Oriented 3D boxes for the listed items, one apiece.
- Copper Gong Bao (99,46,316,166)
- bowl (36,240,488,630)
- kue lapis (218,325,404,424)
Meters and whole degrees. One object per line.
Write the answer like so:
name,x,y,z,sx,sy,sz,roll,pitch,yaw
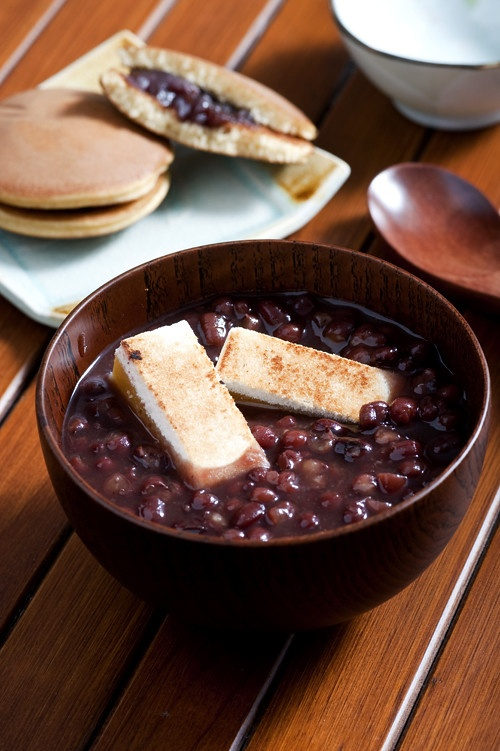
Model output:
Copper Gong Bao,-0.038,-0.458,1.165,0.393,0.131,0.184,26,40,12
bowl,0.010,0.068,0.676,0.411,0.194,0.379,-2,41,1
kue lapis,0.060,0.001,0.725,0.190,0.035,0.082,13,35,5
